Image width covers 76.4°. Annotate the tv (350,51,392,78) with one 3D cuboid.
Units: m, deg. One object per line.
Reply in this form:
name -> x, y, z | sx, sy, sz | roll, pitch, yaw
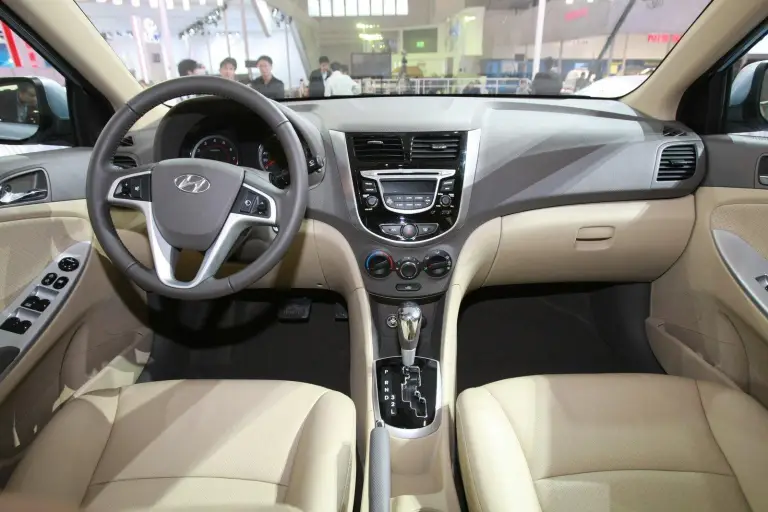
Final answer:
tv -> -0.055, -0.781, 2.012 | 0.170, 0.093, 0.104 | -5, 27, 0
